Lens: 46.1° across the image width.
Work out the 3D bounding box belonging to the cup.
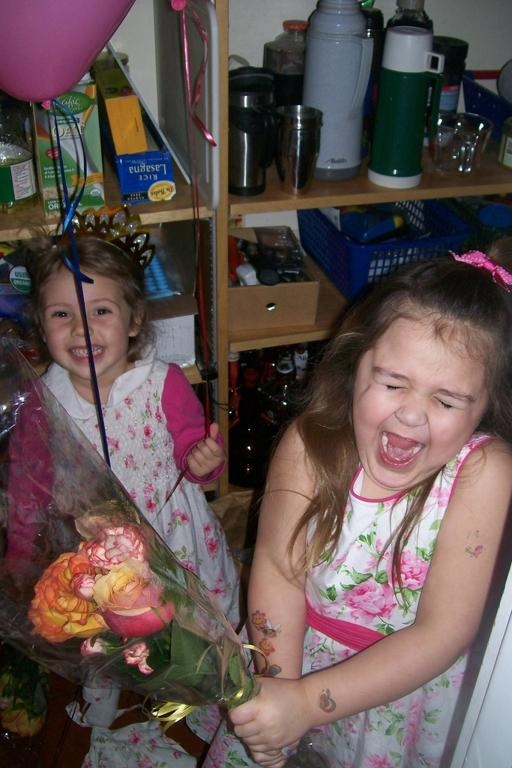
[{"bbox_3d":[0.091,-0.519,1.321,0.121,0.189,0.125,1,29,0],"label":"cup"}]

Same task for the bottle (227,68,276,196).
[{"bbox_3d":[-0.009,-0.520,1.297,0.097,0.214,0.107,1,29,0],"label":"bottle"}]
